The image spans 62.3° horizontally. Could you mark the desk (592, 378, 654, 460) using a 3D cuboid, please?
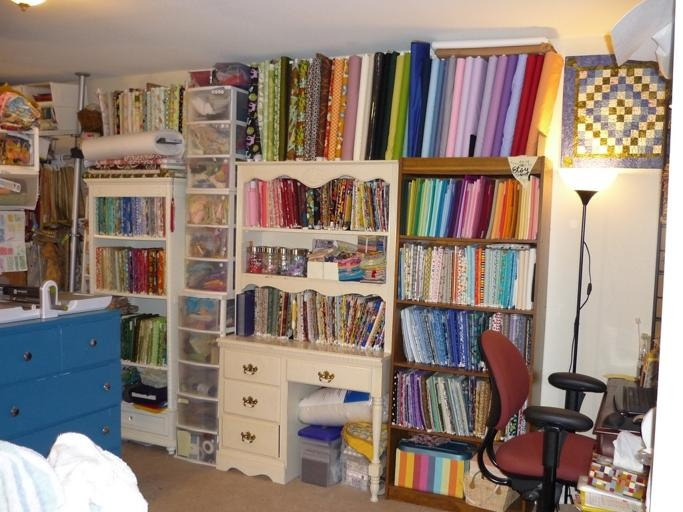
[{"bbox_3d":[1.455,0.823,2.889,0.282,0.229,0.749,2,8,25],"label":"desk"}]
